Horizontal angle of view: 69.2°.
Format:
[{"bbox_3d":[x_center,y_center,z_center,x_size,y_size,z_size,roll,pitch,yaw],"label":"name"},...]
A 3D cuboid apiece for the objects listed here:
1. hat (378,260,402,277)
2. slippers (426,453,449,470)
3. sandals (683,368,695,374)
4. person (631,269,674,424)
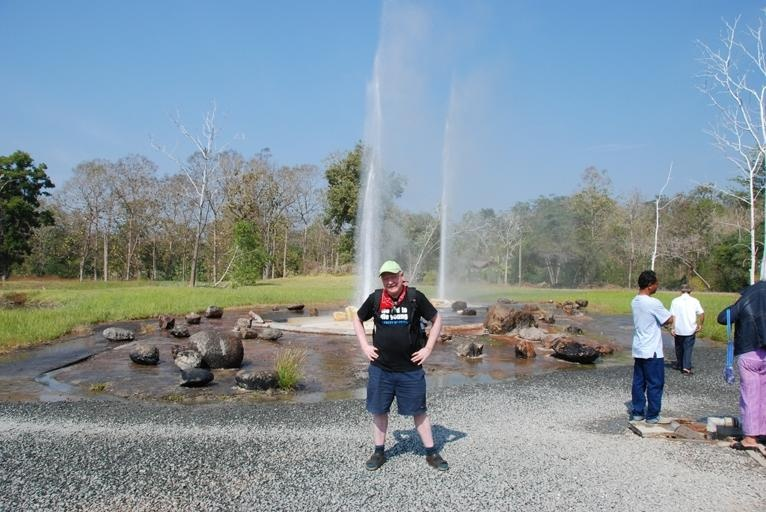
[{"bbox_3d":[0.113,0.201,8.920,0.324,0.226,0.238,1,4,6],"label":"hat"},{"bbox_3d":[0.881,3.354,9.056,0.178,0.159,0.356,2,-5,-38],"label":"slippers"},{"bbox_3d":[7.961,3.021,14.537,0.137,0.134,0.362,-1,-8,11],"label":"sandals"},{"bbox_3d":[4.993,1.714,10.513,0.562,2.834,0.633,-3,5,-36],"label":"person"}]
